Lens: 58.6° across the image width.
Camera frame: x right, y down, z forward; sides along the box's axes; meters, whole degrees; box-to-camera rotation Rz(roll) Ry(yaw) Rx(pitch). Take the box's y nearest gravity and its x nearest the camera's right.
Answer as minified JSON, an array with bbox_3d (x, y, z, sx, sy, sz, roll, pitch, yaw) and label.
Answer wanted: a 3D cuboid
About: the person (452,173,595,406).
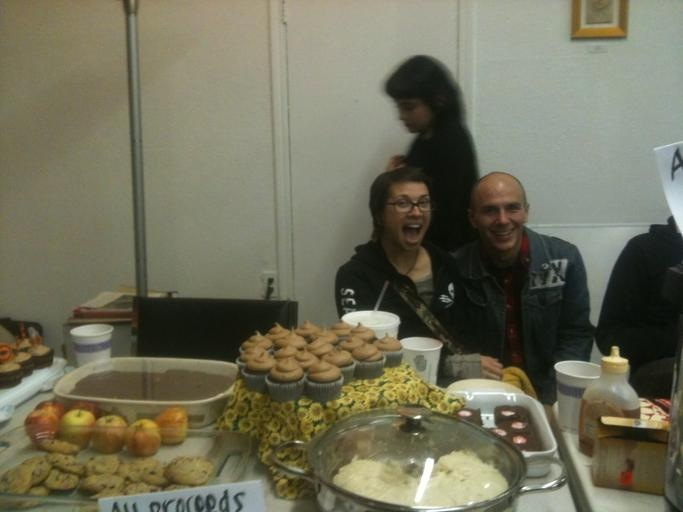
[{"bbox_3d":[0.794,0.198,2.830,0.666,1.154,0.637,-4,-3,8],"label":"person"}]

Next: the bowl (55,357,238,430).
[{"bbox_3d":[-0.585,0.380,1.839,0.392,0.087,0.259,4,12,7],"label":"bowl"}]

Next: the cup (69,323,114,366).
[{"bbox_3d":[-0.868,0.317,2.122,0.143,0.118,0.150,0,4,0],"label":"cup"}]

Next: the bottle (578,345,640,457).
[{"bbox_3d":[0.718,0.383,1.619,0.149,0.290,0.163,0,5,0],"label":"bottle"}]

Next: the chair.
[{"bbox_3d":[-0.480,0.243,2.159,0.459,0.245,0.112,2,1,9],"label":"chair"}]

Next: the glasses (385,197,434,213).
[{"bbox_3d":[0.323,-0.233,2.775,0.228,0.074,0.097,-3,6,-29],"label":"glasses"}]

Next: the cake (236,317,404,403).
[{"bbox_3d":[-0.071,0.284,1.718,0.412,0.161,0.320,-4,6,-36],"label":"cake"}]

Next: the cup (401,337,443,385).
[{"bbox_3d":[0.246,0.308,1.841,0.135,0.146,0.140,-1,12,0],"label":"cup"}]
